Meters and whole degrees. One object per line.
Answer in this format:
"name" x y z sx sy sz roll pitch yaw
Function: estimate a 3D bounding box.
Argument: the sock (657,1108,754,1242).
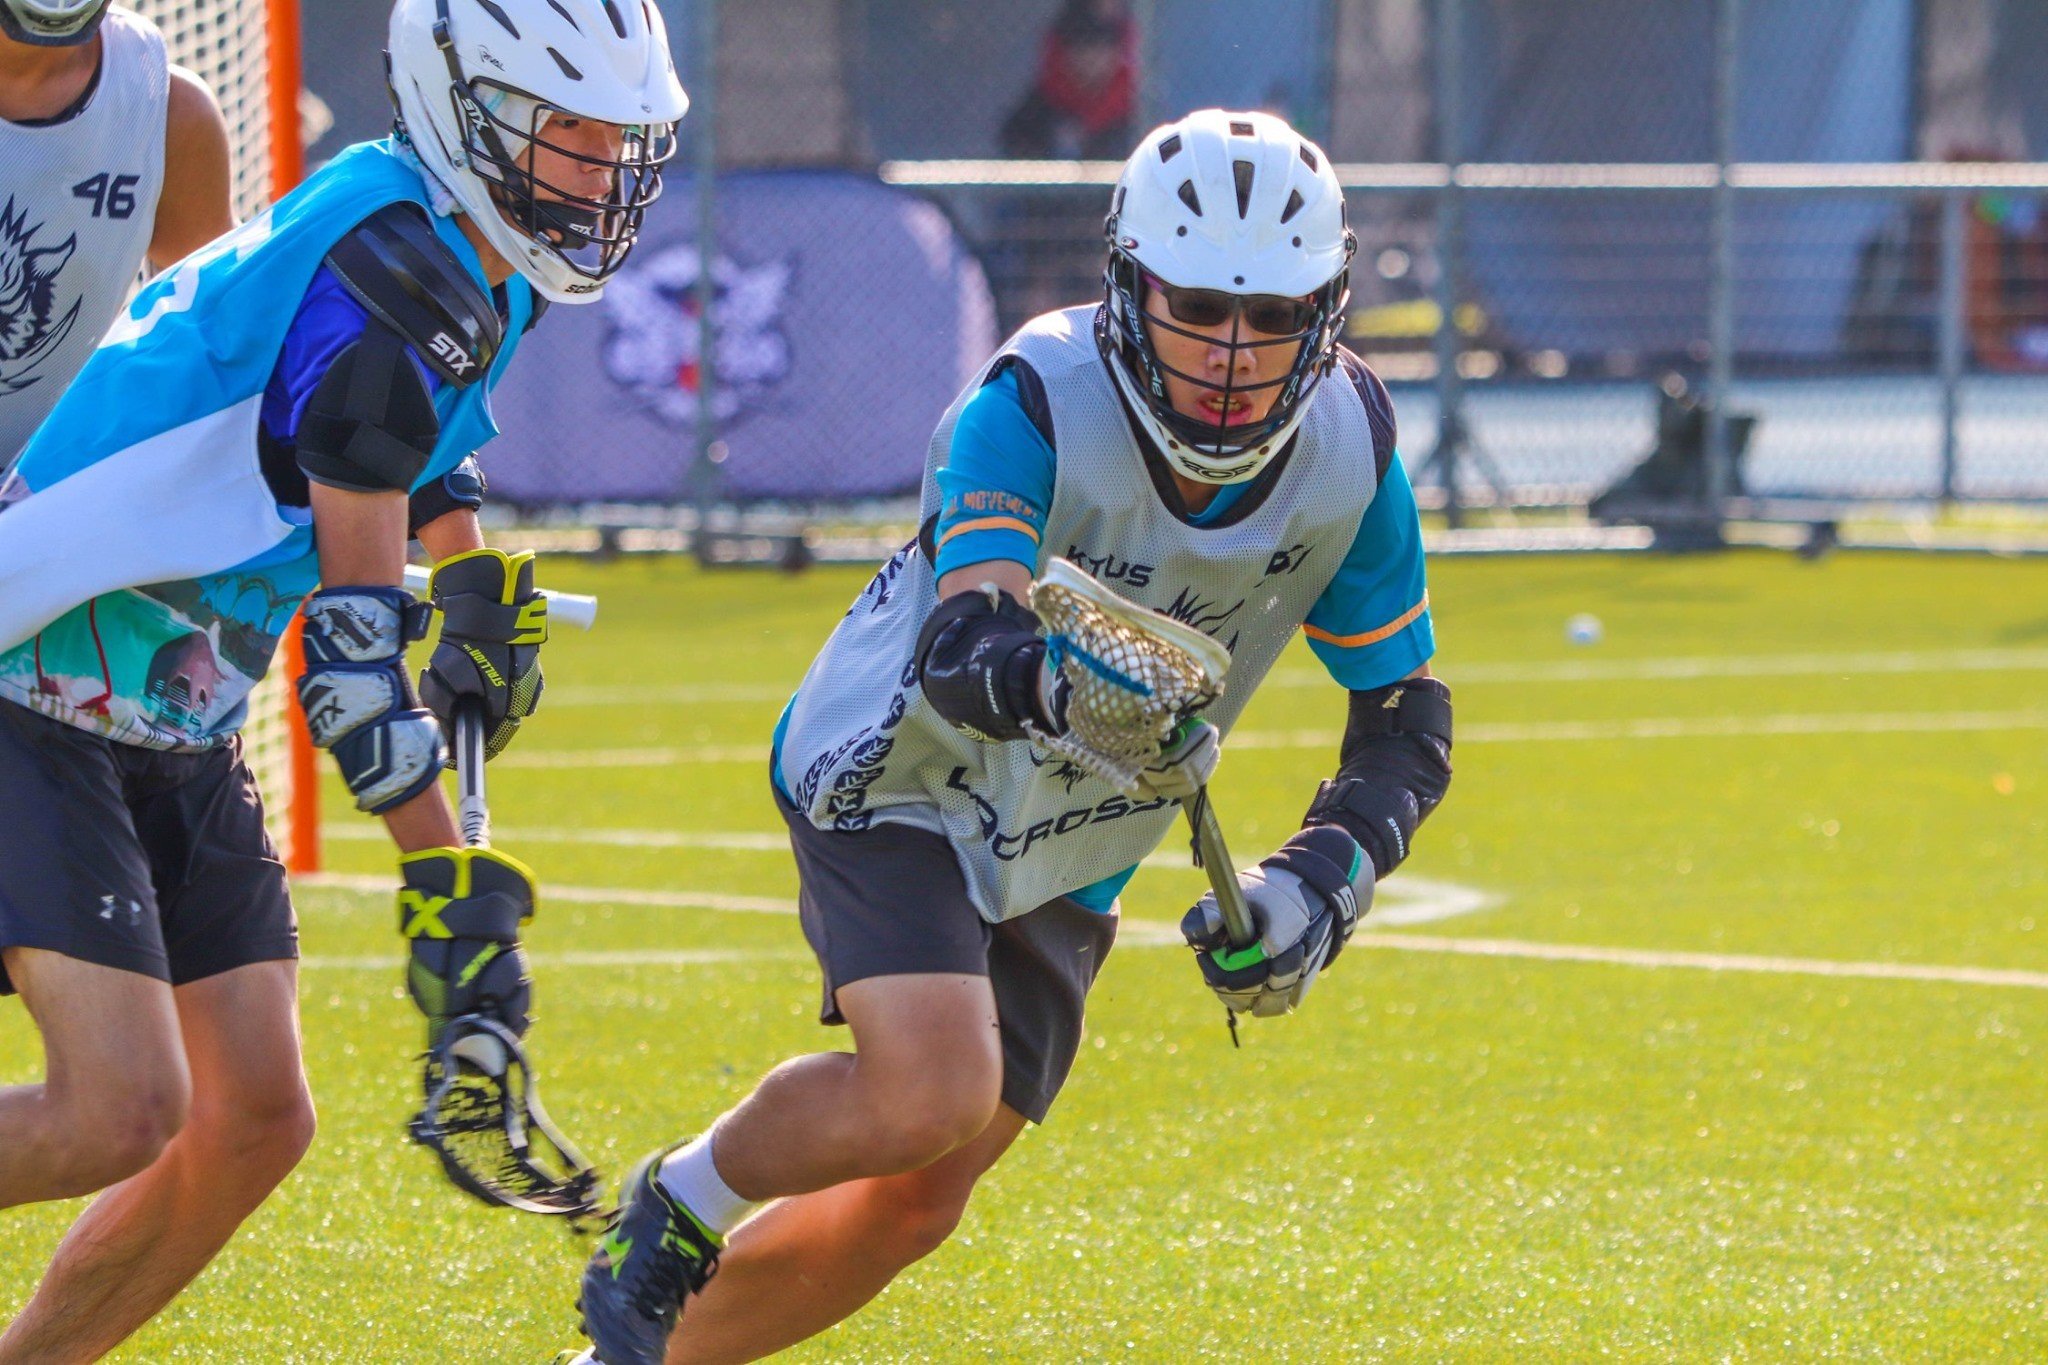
"sock" -0.583 0.969 4.925 0.127 0.212 0.216 -5 -4 17
